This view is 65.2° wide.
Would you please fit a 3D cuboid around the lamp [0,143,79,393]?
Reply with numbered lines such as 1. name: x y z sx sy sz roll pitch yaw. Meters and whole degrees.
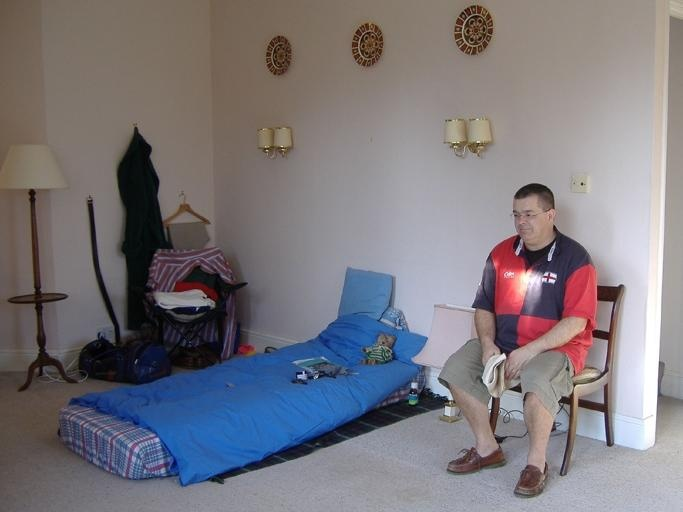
1. lamp: -2.481 0.059 4.421 0.488 1.954 0.629 -6 11 -27

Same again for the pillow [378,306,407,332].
1. pillow: 0.411 0.492 4.247 0.186 0.157 0.059 17 -25 -6

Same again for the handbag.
1. handbag: -1.762 0.800 4.423 0.556 0.303 0.404 0 0 24

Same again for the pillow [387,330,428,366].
1. pillow: 0.504 0.704 4.073 0.209 0.228 0.062 17 -10 22

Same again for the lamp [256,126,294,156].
1. lamp: -0.633 -1.052 4.938 0.395 0.262 0.157 6 12 33

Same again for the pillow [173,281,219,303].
1. pillow: -1.317 0.338 4.866 0.344 0.087 0.191 6 0 -32

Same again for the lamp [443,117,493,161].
1. lamp: 0.917 -0.821 3.889 0.403 0.374 0.256 -1 3 19

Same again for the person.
1. person: 1.005 0.409 3.071 0.733 1.620 0.775 7 12 36

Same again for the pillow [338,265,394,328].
1. pillow: 0.198 0.339 4.367 0.391 0.417 0.099 10 -10 30

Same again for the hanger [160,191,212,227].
1. hanger: -1.542 -0.473 5.366 0.096 0.354 0.507 8 13 40

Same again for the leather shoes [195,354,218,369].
1. leather shoes: -1.183 0.911 4.749 0.158 0.060 0.153 -2 -3 39

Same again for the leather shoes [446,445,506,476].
1. leather shoes: 0.769 1.178 3.093 0.290 0.112 0.141 -3 -7 -15

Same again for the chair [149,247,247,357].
1. chair: -1.455 0.455 5.225 0.965 1.207 0.893 0 -2 -25

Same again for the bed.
1. bed: -0.448 0.943 3.514 1.765 0.432 1.015 -4 4 -44
